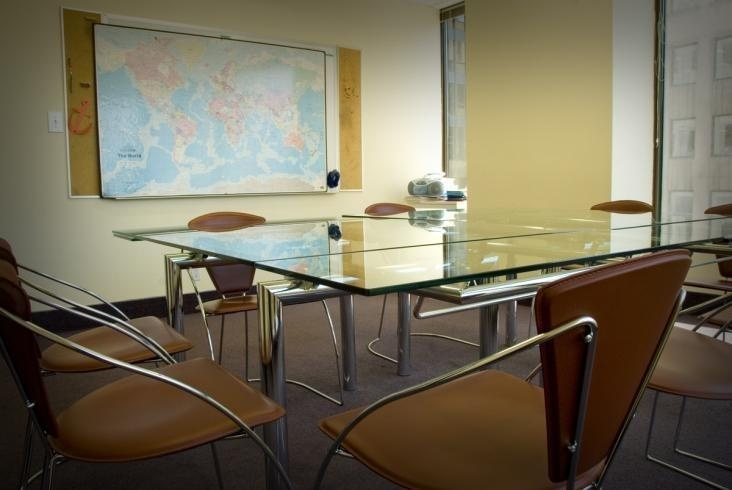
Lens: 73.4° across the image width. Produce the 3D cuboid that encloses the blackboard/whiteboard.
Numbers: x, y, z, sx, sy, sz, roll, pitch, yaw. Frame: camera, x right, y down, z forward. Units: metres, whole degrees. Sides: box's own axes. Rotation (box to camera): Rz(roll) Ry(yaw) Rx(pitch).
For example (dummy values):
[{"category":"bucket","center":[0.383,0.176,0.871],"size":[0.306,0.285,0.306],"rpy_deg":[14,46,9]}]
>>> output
[{"category":"blackboard/whiteboard","center":[-1.333,-1.203,4.667],"size":[2.290,1.394,0.016],"rpy_deg":[-10,21,-37]}]

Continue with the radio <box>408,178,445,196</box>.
[{"category":"radio","center":[0.664,-0.647,5.563],"size":[0.489,0.205,0.160],"rpy_deg":[6,13,35]}]
